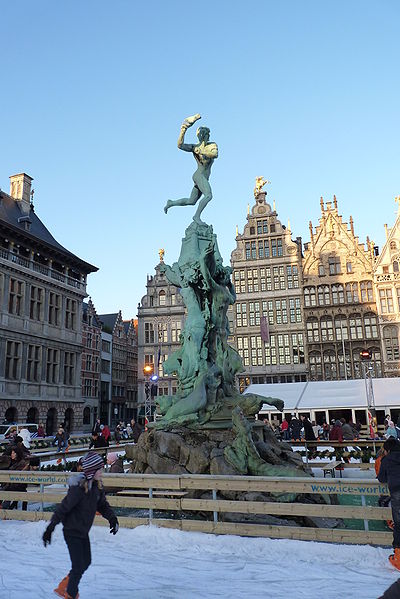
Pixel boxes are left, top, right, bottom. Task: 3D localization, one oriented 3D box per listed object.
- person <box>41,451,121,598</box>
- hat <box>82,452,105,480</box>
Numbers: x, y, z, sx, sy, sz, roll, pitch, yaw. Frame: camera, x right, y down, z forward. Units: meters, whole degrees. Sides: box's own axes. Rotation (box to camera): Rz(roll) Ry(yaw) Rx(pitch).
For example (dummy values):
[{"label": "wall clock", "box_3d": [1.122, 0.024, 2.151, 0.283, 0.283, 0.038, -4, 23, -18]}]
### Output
[{"label": "person", "box_3d": [-1.103, 2.071, 4.970, 0.702, 1.369, 0.392, -2, -3, -29]}, {"label": "hat", "box_3d": [-0.974, 1.482, 4.913, 0.207, 0.243, 0.242, -6, -11, 42]}]
